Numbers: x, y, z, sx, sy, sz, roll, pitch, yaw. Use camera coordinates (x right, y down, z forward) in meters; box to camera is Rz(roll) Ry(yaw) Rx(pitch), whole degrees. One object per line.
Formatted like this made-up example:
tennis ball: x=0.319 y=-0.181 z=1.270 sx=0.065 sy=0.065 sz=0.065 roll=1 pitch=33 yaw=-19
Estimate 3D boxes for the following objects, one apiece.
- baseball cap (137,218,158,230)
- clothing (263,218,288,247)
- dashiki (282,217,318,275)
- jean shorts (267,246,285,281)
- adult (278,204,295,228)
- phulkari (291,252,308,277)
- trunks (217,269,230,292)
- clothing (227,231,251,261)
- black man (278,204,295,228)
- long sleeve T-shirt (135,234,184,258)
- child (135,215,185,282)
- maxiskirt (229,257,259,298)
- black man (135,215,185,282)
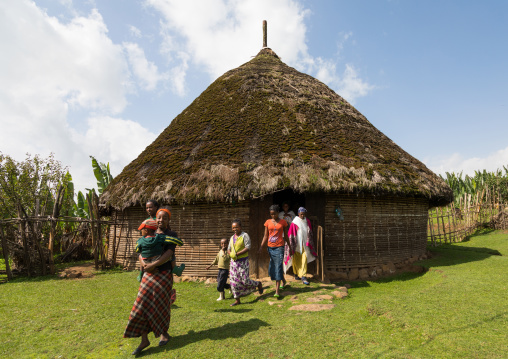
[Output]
baseball cap: x=-2.108 y=0.881 z=6.816 sx=0.292 sy=0.162 sz=0.224 roll=12 pitch=-22 yaw=-13
clothing: x=0.575 y=1.366 z=8.708 sx=0.757 sy=0.852 sz=0.439 roll=1 pitch=-24 yaw=3
dashiki: x=1.309 y=1.825 z=9.440 sx=0.955 sy=1.715 sz=0.513 roll=3 pitch=-2 yaw=-8
jean shorts: x=0.566 y=2.183 z=8.694 sx=0.407 sy=1.035 sz=0.449 roll=1 pitch=11 yaw=15
adult: x=1.015 y=1.137 z=10.106 sx=0.485 sy=0.760 sz=0.354 roll=-14 pitch=-17 yaw=11
phulkari: x=1.132 y=2.328 z=9.544 sx=0.580 sy=0.635 sz=0.422 roll=2 pitch=-14 yaw=-1
trunks: x=-0.744 y=2.477 z=8.592 sx=0.382 sy=0.555 sz=0.343 roll=7 pitch=-3 yaw=-6
clothing: x=-0.381 y=1.623 z=8.366 sx=0.647 sy=0.705 sz=0.403 roll=-10 pitch=-18 yaw=35
black man: x=1.019 y=1.113 z=10.098 sx=0.458 sy=0.718 sz=0.338 roll=-12 pitch=-2 yaw=11
long sleeve T-shirt: x=-1.934 y=1.268 z=6.766 sx=0.695 sy=0.302 sz=0.505 roll=-1 pitch=2 yaw=14
child: x=-1.989 y=1.410 z=6.967 sx=1.084 sy=1.231 sz=0.907 roll=-5 pitch=-4 yaw=28
maxiskirt: x=-0.286 y=2.363 z=8.408 sx=0.575 sy=0.912 sz=0.508 roll=-7 pitch=-9 yaw=21
black man: x=-1.987 y=1.407 z=7.002 sx=1.080 sy=1.249 sz=0.915 roll=-6 pitch=-4 yaw=36
